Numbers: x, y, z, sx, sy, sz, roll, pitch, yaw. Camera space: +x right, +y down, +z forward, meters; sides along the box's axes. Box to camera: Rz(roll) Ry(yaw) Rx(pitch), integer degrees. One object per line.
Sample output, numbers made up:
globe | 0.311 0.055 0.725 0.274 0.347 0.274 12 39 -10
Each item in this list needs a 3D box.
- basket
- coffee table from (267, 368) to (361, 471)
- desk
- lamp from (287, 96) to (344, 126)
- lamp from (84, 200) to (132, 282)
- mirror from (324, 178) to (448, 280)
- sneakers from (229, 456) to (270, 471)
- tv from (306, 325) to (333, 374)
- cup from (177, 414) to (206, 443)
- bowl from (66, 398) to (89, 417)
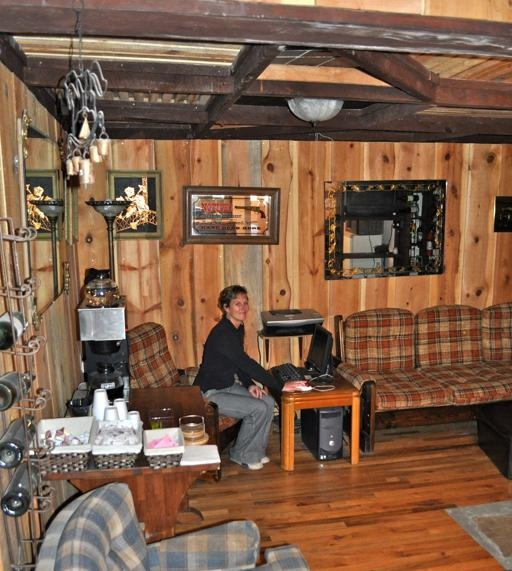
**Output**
basket | -0.668 0.703 2.339 0.516 0.102 0.309 0 6 -9
coffee table | 0.421 1.040 4.177 0.696 0.555 0.631 -1 2 -7
desk | -0.659 1.010 3.075 0.911 0.575 1.285 0 4 -5
lamp | 0.351 -0.994 3.070 0.189 0.101 0.183 7 14 25
lamp | -1.094 -0.342 3.952 0.279 0.588 0.740 -3 10 -15
mirror | 1.143 -0.547 4.850 1.117 0.690 0.014 -2 7 -10
sneakers | -0.047 1.344 4.026 0.271 0.098 0.097 -4 4 23
tv | 0.503 0.516 4.200 0.198 0.301 0.329 15 7 -14
cup | -0.323 0.734 2.691 0.155 0.074 0.142 0 4 0
bowl | -0.976 0.664 2.902 0.105 0.070 0.115 1 -4 0
